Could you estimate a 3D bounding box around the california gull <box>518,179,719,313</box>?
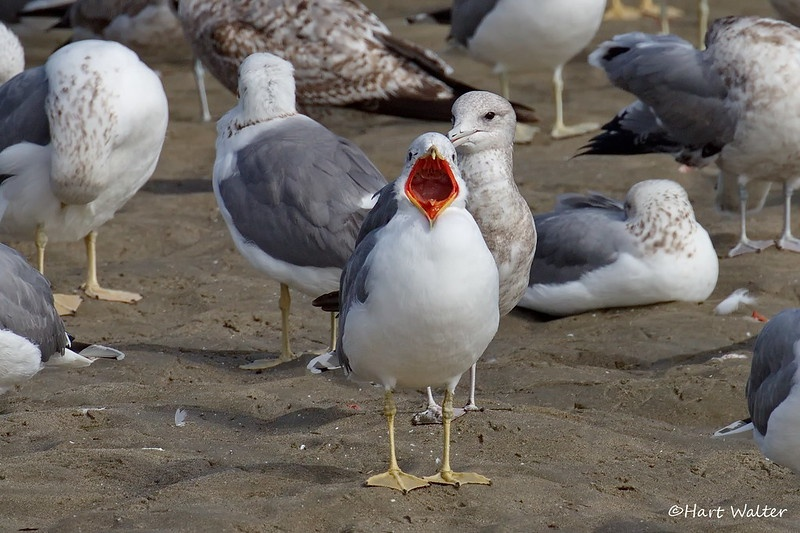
[{"bbox_3d":[1.909,-0.095,10.273,1.594,1.091,0.619,6,31,6],"label":"california gull"}]
